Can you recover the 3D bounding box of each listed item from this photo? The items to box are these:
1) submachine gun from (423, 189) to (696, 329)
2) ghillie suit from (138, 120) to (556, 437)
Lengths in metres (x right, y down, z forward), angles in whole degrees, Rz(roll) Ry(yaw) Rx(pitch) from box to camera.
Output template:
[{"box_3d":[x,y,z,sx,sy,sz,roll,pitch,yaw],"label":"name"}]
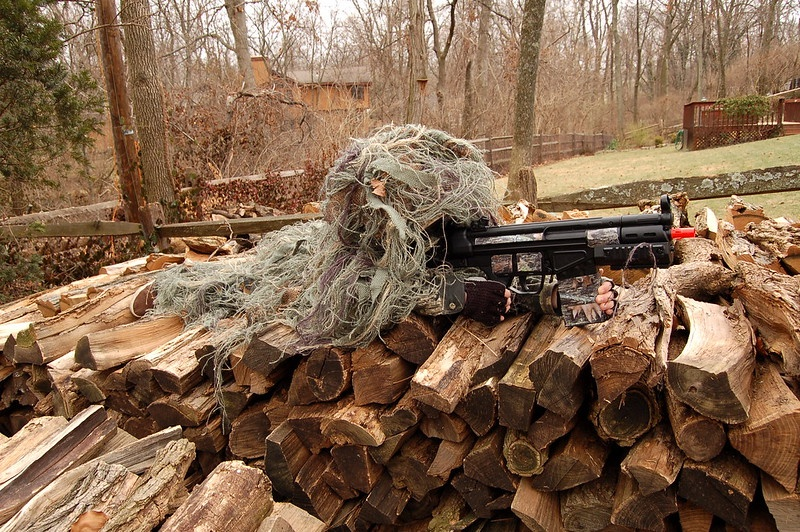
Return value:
[{"box_3d":[1.119,0.031,3.886,1.884,0.784,0.402,-2,0,32],"label":"submachine gun"},{"box_3d":[-0.759,-0.344,4.764,3.140,1.426,2.354,1,27,31],"label":"ghillie suit"}]
